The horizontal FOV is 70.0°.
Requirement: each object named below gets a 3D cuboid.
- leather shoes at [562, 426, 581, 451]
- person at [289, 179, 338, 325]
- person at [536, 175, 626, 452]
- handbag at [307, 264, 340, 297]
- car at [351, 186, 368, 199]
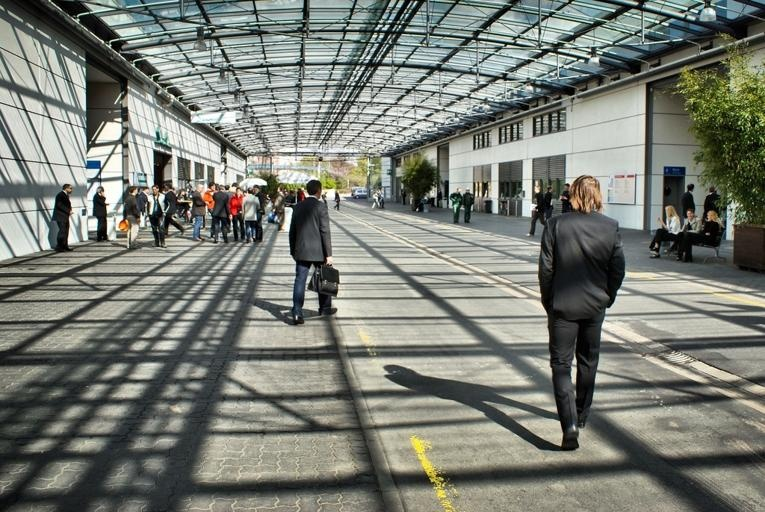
[{"bbox_3d":[1.671,1.580,4.698,0.188,0.250,0.090,-3,9,-21],"label":"leather shoes"},{"bbox_3d":[-1.115,-0.066,8.465,0.705,2.253,0.760,-1,9,-6],"label":"person"},{"bbox_3d":[1.751,0.638,4.832,0.619,2.071,0.491,-5,10,-29],"label":"person"},{"bbox_3d":[-0.892,0.329,8.462,0.315,0.543,0.414,3,-11,40],"label":"handbag"},{"bbox_3d":[-3.873,-11.003,93.478,3.096,1.452,1.605,2,-3,12],"label":"car"}]
